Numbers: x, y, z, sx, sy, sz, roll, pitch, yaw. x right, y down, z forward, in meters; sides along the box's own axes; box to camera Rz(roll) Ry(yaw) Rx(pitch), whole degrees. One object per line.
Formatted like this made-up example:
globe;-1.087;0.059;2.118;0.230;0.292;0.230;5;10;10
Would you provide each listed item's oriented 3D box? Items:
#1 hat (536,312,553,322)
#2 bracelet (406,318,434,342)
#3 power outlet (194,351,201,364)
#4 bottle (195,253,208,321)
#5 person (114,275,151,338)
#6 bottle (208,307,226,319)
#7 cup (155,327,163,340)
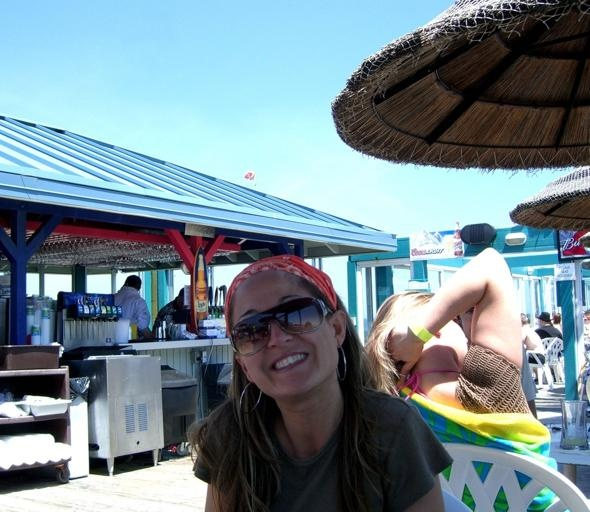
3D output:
hat;5.661;1.367;13.779;0.339;0.155;0.393;5;-1;1
bracelet;0.521;0.303;2.495;0.081;0.054;0.083;5;-4;-13
power outlet;-1.369;1.407;8.515;0.093;0.180;0.177;-2;-4;27
bottle;-1.353;0.444;8.699;0.164;0.908;0.102;3;-8;-28
person;-2.548;0.769;9.511;0.530;0.941;1.085;-2;1;-16
bottle;-1.202;0.875;9.431;0.172;0.178;0.175;4;-5;-42
cup;-1.836;1.035;8.199;0.087;0.157;0.232;-2;1;-12
